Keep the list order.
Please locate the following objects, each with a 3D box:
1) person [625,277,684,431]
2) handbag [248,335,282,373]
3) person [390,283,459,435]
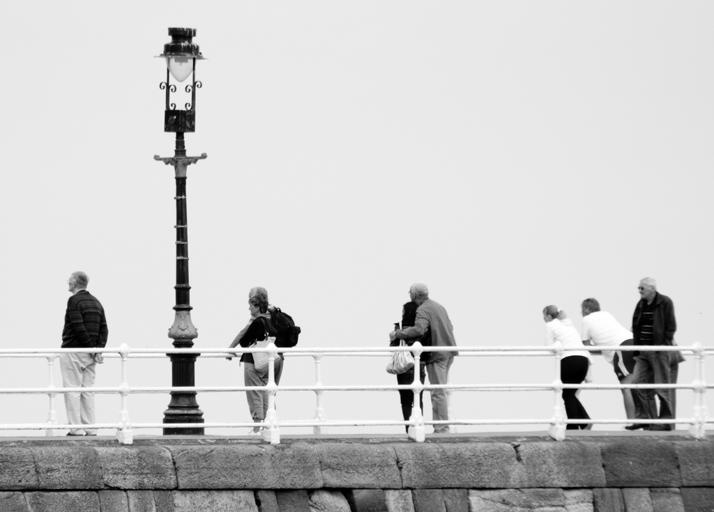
[{"bbox_3d":[3.899,1.260,22.832,0.679,1.977,1.164,-5,-7,9],"label":"person"},{"bbox_3d":[-1.175,1.219,22.262,0.522,0.451,0.364,0,-8,2],"label":"handbag"},{"bbox_3d":[0.931,1.268,22.498,0.741,1.960,0.937,-4,-7,2],"label":"person"}]
